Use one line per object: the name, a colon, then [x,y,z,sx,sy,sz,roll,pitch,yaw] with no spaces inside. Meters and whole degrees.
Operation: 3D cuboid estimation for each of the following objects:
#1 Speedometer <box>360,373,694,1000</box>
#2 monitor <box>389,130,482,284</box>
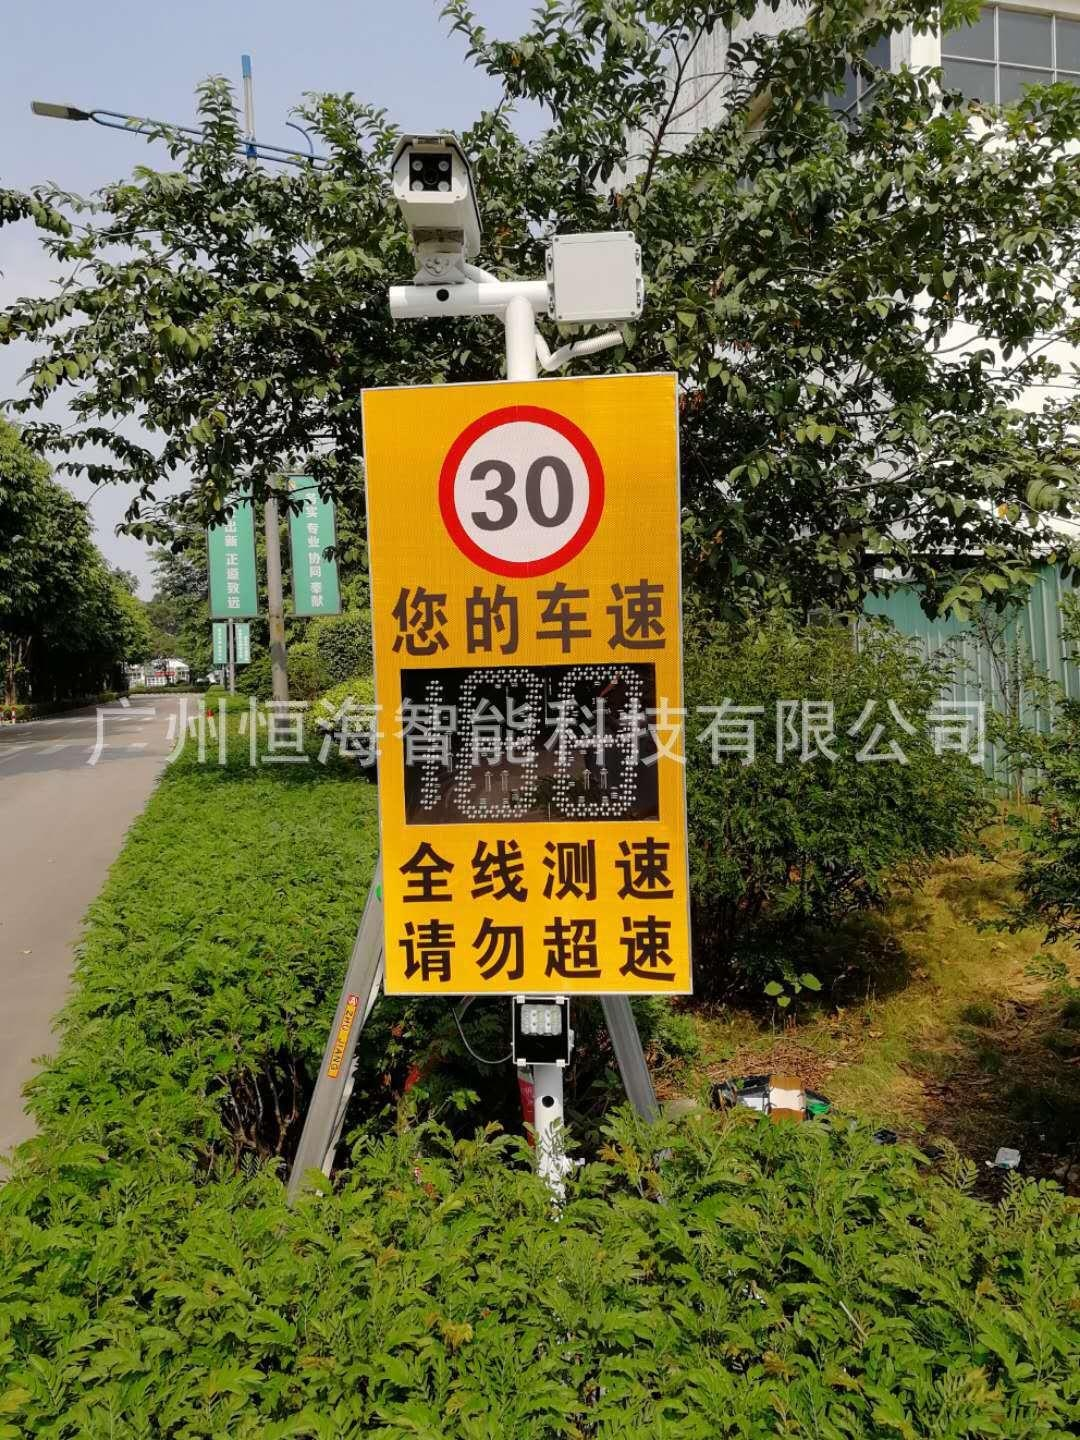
Speedometer: [-0.030,-0.092,3.306,0.831,1.666,0.018,-2,-1,1]
monitor: [-0.300,-1.460,3.466,0.223,0.321,0.399,-2,3,0]
